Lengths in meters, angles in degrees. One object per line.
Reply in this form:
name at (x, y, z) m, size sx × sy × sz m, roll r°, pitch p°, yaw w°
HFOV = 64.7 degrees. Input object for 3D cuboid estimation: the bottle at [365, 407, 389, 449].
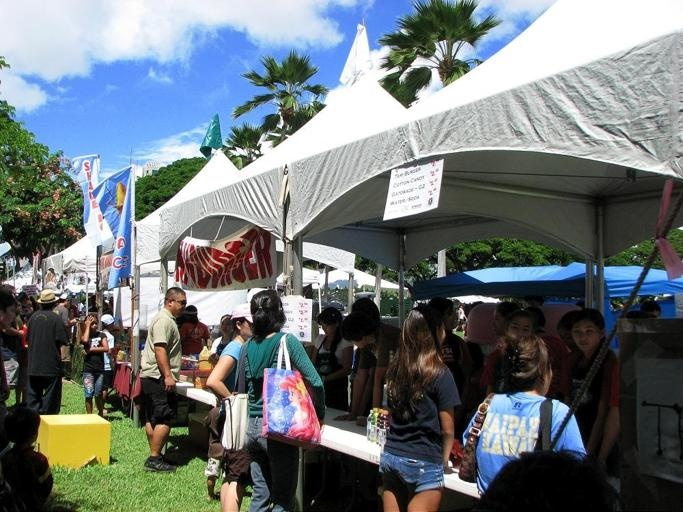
bottle at (0.280, 1.285, 4.079) m, size 0.109 × 0.282 × 0.366 m, roll 2°, pitch -4°, yaw -9°

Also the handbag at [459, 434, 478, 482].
handbag at (0.722, 1.150, 3.066) m, size 0.088 × 0.298 × 0.230 m, roll 1°, pitch -4°, yaw 11°

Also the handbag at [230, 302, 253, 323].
handbag at (-0.810, 0.458, 4.334) m, size 0.175 × 0.109 × 0.128 m, roll 0°, pitch -4°, yaw 6°

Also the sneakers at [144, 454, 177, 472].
sneakers at (-2.053, 2.351, 6.163) m, size 0.378 × 0.188 × 0.159 m, roll 4°, pitch -1°, yaw -6°

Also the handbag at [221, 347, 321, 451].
handbag at (-0.489, 1.013, 3.764) m, size 0.769 × 0.957 × 0.385 m, roll -3°, pitch 0°, yaw 30°

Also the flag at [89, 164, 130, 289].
flag at (-3.637, -0.468, 8.673) m, size 0.665 × 1.935 × 0.365 m, roll -2°, pitch -5°, yaw 37°
